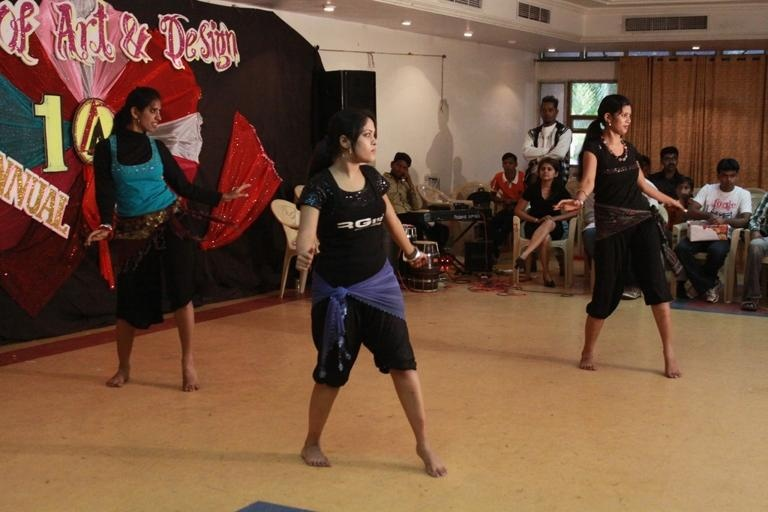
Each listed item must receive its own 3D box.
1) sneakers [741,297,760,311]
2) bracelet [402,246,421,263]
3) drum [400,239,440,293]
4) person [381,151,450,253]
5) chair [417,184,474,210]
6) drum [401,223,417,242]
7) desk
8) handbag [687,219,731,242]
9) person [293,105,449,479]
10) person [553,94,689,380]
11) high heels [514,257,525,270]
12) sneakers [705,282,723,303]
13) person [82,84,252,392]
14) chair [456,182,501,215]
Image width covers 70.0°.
[{"bbox_3d":[3.845,0.508,5.714,0.200,0.128,0.099,-1,10,-5],"label":"sneakers"},{"bbox_3d":[0.146,-0.011,3.028,0.079,0.081,0.030,-5,1,-26],"label":"bracelet"},{"bbox_3d":[0.515,0.152,6.956,0.516,0.606,0.511,-1,0,-11],"label":"drum"},{"bbox_3d":[0.454,-0.576,8.170,1.071,1.909,0.773,8,22,20],"label":"person"},{"bbox_3d":[0.874,-0.845,8.007,0.583,0.215,0.430,1,3,43],"label":"chair"},{"bbox_3d":[0.336,-0.300,6.945,0.223,0.227,0.170,0,2,42],"label":"drum"},{"bbox_3d":[0.909,-0.234,7.632,1.001,0.703,0.619,2,-6,-2],"label":"desk"},{"bbox_3d":[3.663,-0.271,6.150,0.412,0.223,0.256,5,11,27],"label":"handbag"},{"bbox_3d":[-0.101,0.188,2.870,0.724,1.870,0.517,-2,9,-10],"label":"person"},{"bbox_3d":[1.771,-0.159,4.044,0.893,2.030,0.814,0,6,25],"label":"person"},{"bbox_3d":[1.698,0.096,6.814,0.113,0.189,0.219,2,10,13],"label":"high heels"},{"bbox_3d":[3.718,0.429,6.137,0.102,0.132,0.311,-24,12,48],"label":"sneakers"},{"bbox_3d":[-1.647,-0.106,3.849,0.756,2.101,0.469,-3,10,-14],"label":"person"},{"bbox_3d":[1.432,-0.927,8.426,0.594,0.658,0.564,-1,5,-7],"label":"chair"}]
